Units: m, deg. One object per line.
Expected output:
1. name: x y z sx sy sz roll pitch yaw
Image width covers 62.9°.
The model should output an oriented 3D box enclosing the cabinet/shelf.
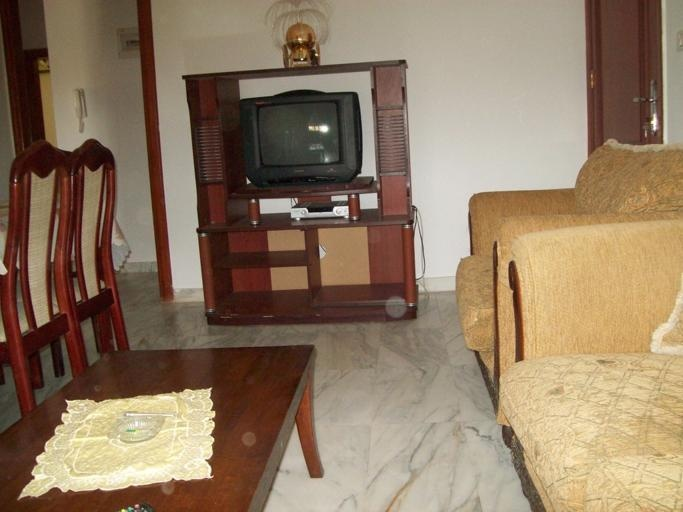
1. cabinet/shelf: -0.243 -0.413 3.635 1.657 1.815 0.631 -3 15 4

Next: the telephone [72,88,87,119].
1. telephone: -2.328 -1.376 4.997 0.093 0.254 0.050 -8 11 -23

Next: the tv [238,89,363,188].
1. tv: -0.236 -0.730 3.658 0.939 0.719 0.530 0 13 5
